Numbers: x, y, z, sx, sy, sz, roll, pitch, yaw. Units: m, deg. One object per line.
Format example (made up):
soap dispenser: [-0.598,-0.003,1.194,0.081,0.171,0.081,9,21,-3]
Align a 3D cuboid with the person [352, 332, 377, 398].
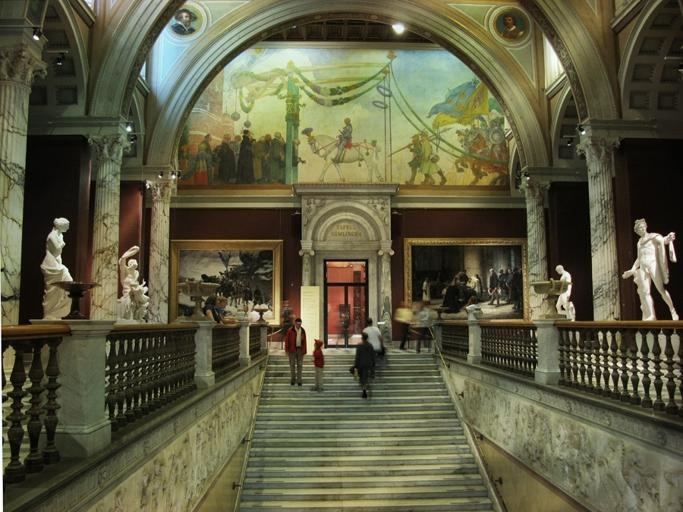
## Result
person: [0.484,2.457,13.866,0.436,1.504,0.848,0,-4,-2]

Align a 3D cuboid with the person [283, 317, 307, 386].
person: [-1.101,2.253,14.468,0.458,1.599,1.303,0,-4,-5]

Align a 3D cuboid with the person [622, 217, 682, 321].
person: [5.983,0.345,11.989,0.685,2.260,1.369,13,-19,-6]
